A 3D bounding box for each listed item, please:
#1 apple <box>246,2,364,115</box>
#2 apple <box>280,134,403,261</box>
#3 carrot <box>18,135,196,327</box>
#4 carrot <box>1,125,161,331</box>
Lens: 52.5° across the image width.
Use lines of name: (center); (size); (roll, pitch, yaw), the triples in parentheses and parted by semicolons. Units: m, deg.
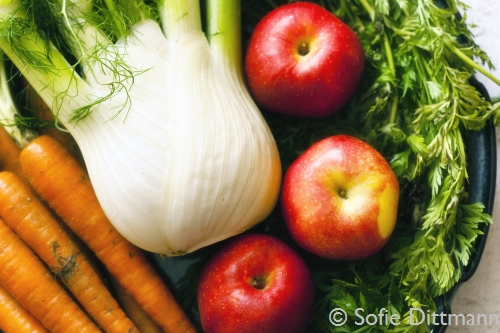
apple: (0.141, -0.266, 1.351); (0.306, 0.277, 0.165); (5, 37, 13)
apple: (0.215, 0.047, 1.385); (0.274, 0.304, 0.286); (3, 17, -5)
carrot: (-0.392, 0.166, 1.344); (0.096, 0.574, 0.108); (-39, 2, 18)
carrot: (-0.453, 0.168, 1.352); (0.073, 0.071, 0.655); (-35, 83, -34)
